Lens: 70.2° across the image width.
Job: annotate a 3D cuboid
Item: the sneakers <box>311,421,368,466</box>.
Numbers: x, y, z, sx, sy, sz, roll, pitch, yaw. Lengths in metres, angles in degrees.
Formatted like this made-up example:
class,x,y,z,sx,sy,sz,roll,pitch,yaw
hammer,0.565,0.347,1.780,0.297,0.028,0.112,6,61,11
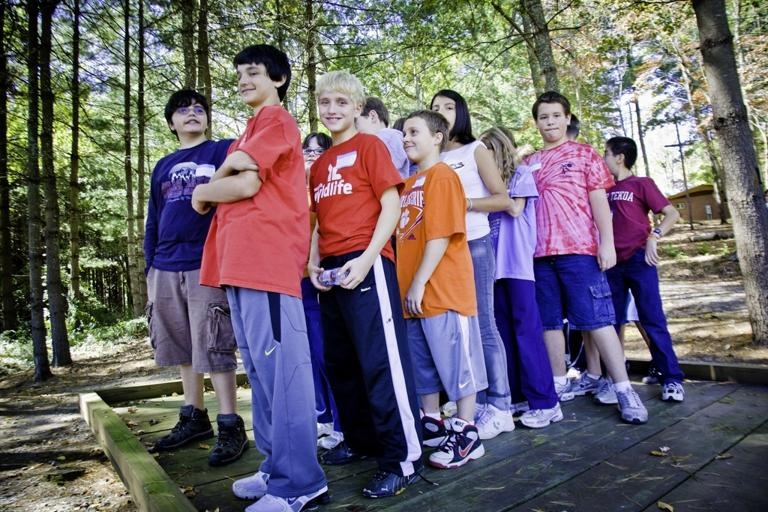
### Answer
class,x,y,z,sx,sy,sz,roll,pitch,yaw
sneakers,-0.440,1.751,4.933,0.559,0.217,0.180,6,-3,-25

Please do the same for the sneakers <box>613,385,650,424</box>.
class,x,y,z,sx,sy,sz,roll,pitch,yaw
sneakers,2.367,1.395,5.228,0.219,0.193,0.574,-7,8,16

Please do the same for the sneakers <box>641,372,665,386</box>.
class,x,y,z,sx,sy,sz,roll,pitch,yaw
sneakers,2.882,1.320,5.887,0.257,0.100,0.084,0,-2,-5

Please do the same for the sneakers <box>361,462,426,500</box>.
class,x,y,z,sx,sy,sz,roll,pitch,yaw
sneakers,0.093,1.805,4.458,0.571,0.234,0.206,-5,-7,-40

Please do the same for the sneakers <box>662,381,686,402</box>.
class,x,y,z,sx,sy,sz,roll,pitch,yaw
sneakers,2.861,1.343,5.395,0.132,0.123,0.290,-2,-8,26
